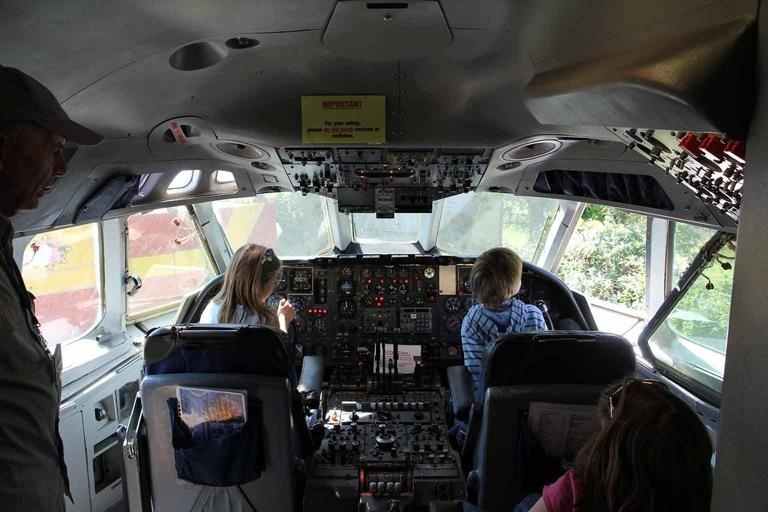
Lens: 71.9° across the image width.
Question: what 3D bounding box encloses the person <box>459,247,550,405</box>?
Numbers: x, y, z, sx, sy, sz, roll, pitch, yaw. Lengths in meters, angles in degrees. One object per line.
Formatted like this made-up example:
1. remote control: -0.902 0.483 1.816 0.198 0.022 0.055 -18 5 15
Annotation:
1. person: 0.849 0.567 3.715 0.636 1.249 0.496 -3 28 -1
